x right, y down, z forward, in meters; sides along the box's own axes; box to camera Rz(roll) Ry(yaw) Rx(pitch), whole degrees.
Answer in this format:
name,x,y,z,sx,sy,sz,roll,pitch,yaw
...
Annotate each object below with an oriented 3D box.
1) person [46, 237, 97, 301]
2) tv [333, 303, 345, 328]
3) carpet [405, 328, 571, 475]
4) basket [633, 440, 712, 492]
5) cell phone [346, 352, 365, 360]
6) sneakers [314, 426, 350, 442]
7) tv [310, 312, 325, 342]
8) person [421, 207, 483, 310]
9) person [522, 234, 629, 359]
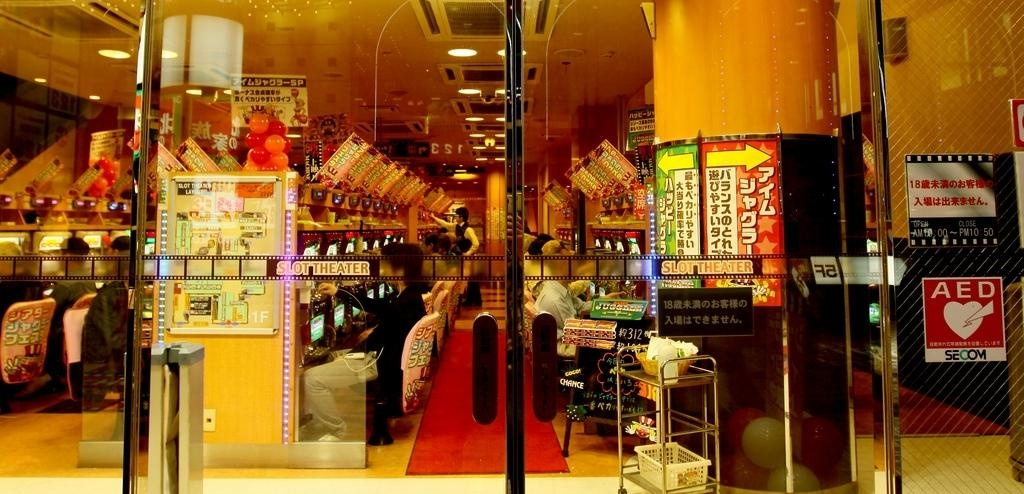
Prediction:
name,x,y,z,sx,sy,sz,roll,pitch,yaw
person,-4.089,0.254,7.489,0.375,0.699,1.049,2,-2,-29
tv,-1.606,0.648,7.466,0.089,0.221,0.099,0,-3,3
carpet,-0.219,1.378,6.777,1.272,0.042,2.091,0,39,5
basket,1.364,1.900,6.841,0.463,0.223,0.584,-1,3,-14
cell phone,-1.475,1.053,7.583,0.133,0.063,0.049,0,-5,-29
sneakers,-1.629,1.705,7.287,0.265,0.127,0.088,1,-2,-12
tv,-1.801,0.753,7.410,0.141,0.253,0.081,1,-3,-16
person,-0.498,0.090,7.019,0.487,0.866,0.266,1,-3,1
person,0.420,0.326,6.904,0.605,0.862,0.211,0,-3,4
